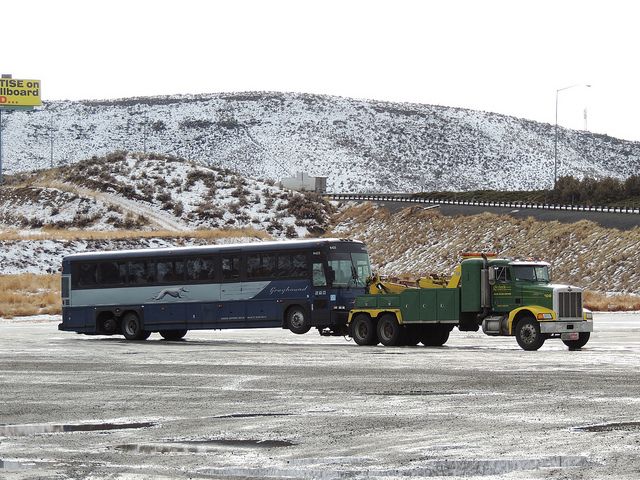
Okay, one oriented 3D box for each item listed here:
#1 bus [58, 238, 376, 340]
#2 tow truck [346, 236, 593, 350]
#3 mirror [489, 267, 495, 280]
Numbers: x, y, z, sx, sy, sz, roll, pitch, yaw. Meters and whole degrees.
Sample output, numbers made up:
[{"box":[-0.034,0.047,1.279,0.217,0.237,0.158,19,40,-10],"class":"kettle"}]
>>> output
[{"box":[-4.643,1.812,55.480,12.046,3.435,3.284,-3,2,12],"class":"bus"},{"box":[4.650,1.850,50.158,10.133,3.879,3.322,-3,-3,33],"class":"tow truck"},{"box":[5.969,1.109,48.242,0.205,0.405,0.068,1,-1,30],"class":"mirror"}]
